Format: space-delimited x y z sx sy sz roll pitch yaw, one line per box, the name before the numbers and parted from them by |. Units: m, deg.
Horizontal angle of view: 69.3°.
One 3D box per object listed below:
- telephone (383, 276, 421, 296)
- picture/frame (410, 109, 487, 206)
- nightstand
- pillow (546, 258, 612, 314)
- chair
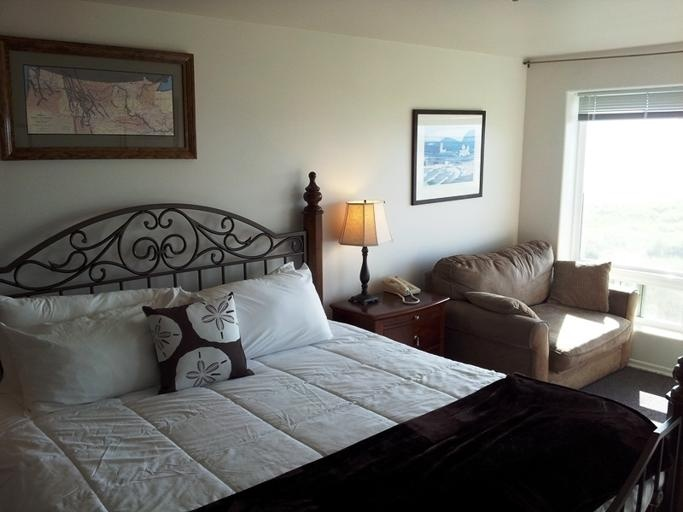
telephone | 0.478 0.246 4.144 0.220 0.086 0.162 8 15 34
picture/frame | 1.001 -0.925 4.633 1.000 0.825 0.045 -12 17 -36
nightstand | 0.464 0.697 4.123 0.756 0.686 0.548 -7 11 -27
pillow | 2.260 0.303 4.724 0.448 0.371 0.206 9 21 36
chair | 1.655 0.491 4.472 1.757 1.149 1.249 -6 8 -42
